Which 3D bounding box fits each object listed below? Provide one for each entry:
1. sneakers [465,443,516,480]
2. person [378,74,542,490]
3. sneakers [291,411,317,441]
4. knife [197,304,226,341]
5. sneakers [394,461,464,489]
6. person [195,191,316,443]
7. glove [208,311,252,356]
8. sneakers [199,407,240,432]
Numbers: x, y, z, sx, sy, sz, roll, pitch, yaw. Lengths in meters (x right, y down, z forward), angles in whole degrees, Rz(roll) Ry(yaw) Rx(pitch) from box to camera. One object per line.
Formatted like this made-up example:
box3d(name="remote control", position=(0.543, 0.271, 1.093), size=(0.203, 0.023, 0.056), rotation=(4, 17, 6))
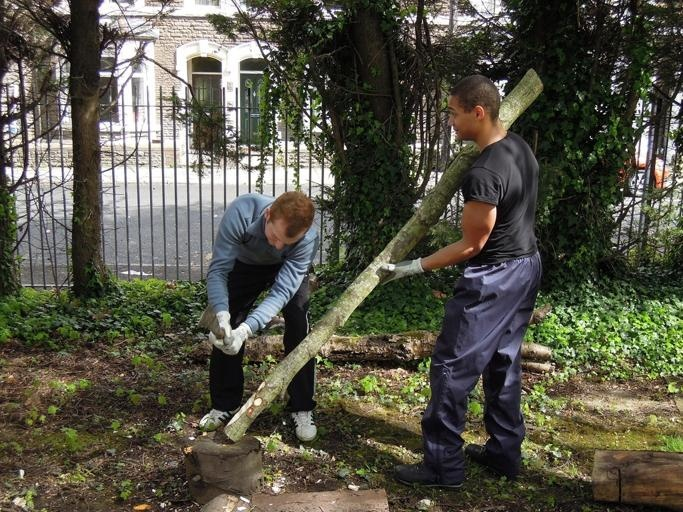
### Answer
box3d(name="sneakers", position=(1.297, 1.789, 5.792), size=(0.293, 0.098, 0.194), rotation=(35, 1, 27))
box3d(name="person", position=(1.124, 0.232, 5.554), size=(1.119, 3.430, 0.587), rotation=(1, 3, 1))
box3d(name="sneakers", position=(-0.340, 1.560, 6.150), size=(0.145, 0.135, 0.314), rotation=(-4, 13, -11))
box3d(name="knife", position=(-1.200, 0.648, 6.007), size=(0.274, 0.298, 0.072), rotation=(36, 36, 21))
box3d(name="sneakers", position=(0.739, 1.828, 5.756), size=(0.618, 0.249, 0.219), rotation=(6, 1, 11))
box3d(name="person", position=(-0.726, 0.564, 5.978), size=(1.178, 2.246, 1.031), rotation=(2, 3, 16))
box3d(name="glove", position=(-0.945, 0.660, 5.657), size=(0.391, 0.294, 0.185), rotation=(22, 4, 38))
box3d(name="sneakers", position=(-1.147, 1.500, 6.269), size=(0.138, 0.164, 0.389), rotation=(19, 13, 39))
